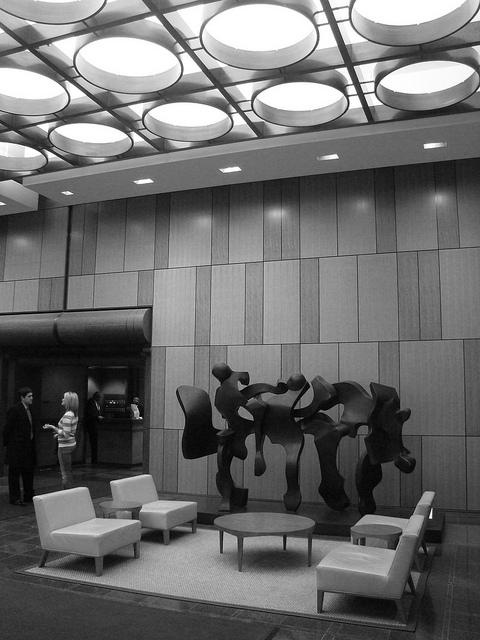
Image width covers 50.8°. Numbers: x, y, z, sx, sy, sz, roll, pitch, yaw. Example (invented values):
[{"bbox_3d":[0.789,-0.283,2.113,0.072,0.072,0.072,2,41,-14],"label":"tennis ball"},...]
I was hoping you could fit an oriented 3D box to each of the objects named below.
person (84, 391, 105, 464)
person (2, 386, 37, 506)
[{"bbox_3d":[-2.930,2.145,10.055,0.345,1.425,0.129,-4,-11,19],"label":"person"},{"bbox_3d":[-3.803,2.164,8.751,0.519,1.942,0.391,5,-11,-27],"label":"person"}]
